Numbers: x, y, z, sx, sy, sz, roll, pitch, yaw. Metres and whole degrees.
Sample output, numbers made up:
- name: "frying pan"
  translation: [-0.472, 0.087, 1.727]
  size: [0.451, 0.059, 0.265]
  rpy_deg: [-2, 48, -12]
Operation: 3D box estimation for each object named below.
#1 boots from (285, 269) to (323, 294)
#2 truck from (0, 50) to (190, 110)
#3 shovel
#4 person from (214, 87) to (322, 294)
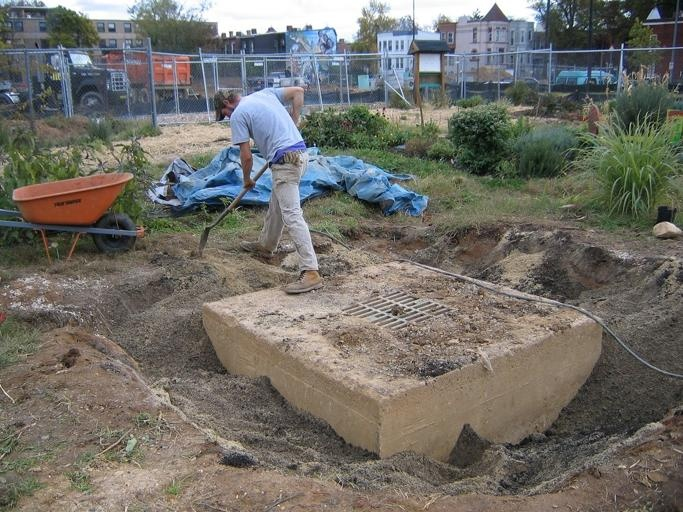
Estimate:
- name: "boots"
  translation: [-0.369, 0.251, 6.222]
  size: [0.400, 0.297, 0.173]
  rpy_deg: [2, 3, -15]
- name: "truck"
  translation: [-6.938, -4.857, 17.469]
  size: [3.587, 2.049, 2.569]
  rpy_deg: [-5, 22, -7]
- name: "shovel"
  translation: [-1.244, -0.613, 7.267]
  size: [0.275, 0.121, 1.579]
  rpy_deg: [-19, -14, -45]
- name: "person"
  translation: [-0.710, -0.767, 6.675]
  size: [0.838, 1.960, 1.572]
  rpy_deg: [-4, 14, -9]
